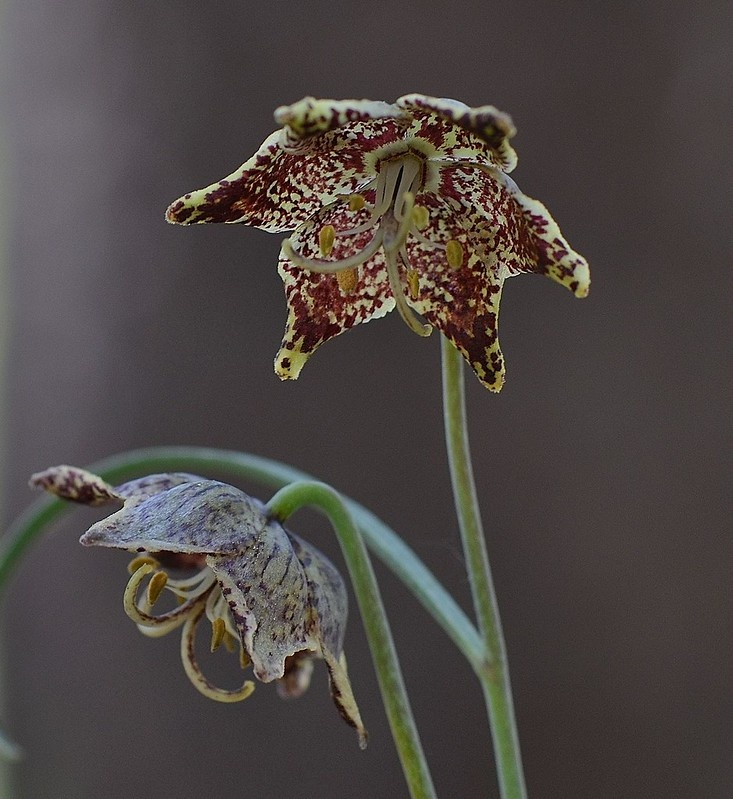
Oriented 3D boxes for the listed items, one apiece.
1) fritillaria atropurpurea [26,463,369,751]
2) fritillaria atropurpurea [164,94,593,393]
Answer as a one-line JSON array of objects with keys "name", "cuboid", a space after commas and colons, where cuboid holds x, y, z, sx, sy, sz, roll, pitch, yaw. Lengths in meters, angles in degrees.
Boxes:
[{"name": "fritillaria atropurpurea", "cuboid": [-0.129, 0.128, 1.507, 0.311, 0.318, 0.122, 28, 70, 35]}, {"name": "fritillaria atropurpurea", "cuboid": [0.044, -0.183, 1.425, 0.348, 0.329, 0.123, 20, 54, 10]}]
